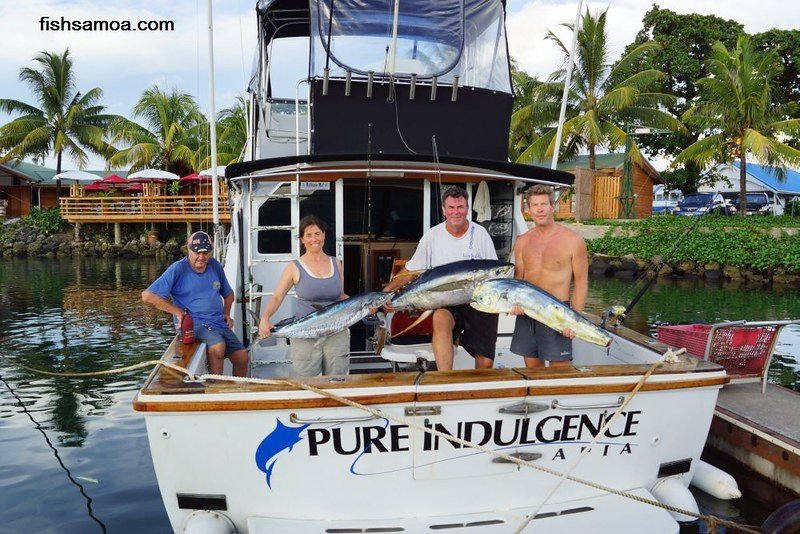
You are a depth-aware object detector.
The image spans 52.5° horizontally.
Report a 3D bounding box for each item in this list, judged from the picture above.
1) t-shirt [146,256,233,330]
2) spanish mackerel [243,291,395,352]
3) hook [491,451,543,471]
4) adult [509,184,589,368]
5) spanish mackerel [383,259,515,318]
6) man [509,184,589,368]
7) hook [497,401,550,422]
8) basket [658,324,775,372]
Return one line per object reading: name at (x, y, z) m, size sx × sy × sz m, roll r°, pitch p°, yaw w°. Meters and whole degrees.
t-shirt at (-3.321, 0.410, 13.140) m, size 1.685 × 1.392 × 0.969 m, roll 3°, pitch -4°, yaw -44°
spanish mackerel at (-1.248, 0.868, 12.599) m, size 2.154 × 0.531 × 0.374 m, roll -20°, pitch 4°, yaw 0°
hook at (1.590, 2.704, 11.290) m, size 1.021 × 0.242 × 0.250 m, roll 0°, pitch -6°, yaw -9°
adult at (2.201, 0.603, 12.311) m, size 1.126 × 3.485 × 1.128 m, roll 4°, pitch 18°, yaw 19°
spanish mackerel at (0.725, 0.290, 11.921) m, size 1.867 × 0.728 × 0.670 m, roll -18°, pitch -31°, yaw 5°
man at (2.158, 0.600, 12.238) m, size 1.124 × 3.509 × 1.179 m, roll 6°, pitch 15°, yaw 28°
hook at (1.745, 2.001, 11.337) m, size 0.705 × 0.225 × 0.032 m, roll 0°, pitch 8°, yaw -5°
basket at (5.564, 1.460, 14.545) m, size 1.032 × 1.082 × 1.731 m, roll -1°, pitch 10°, yaw -7°
